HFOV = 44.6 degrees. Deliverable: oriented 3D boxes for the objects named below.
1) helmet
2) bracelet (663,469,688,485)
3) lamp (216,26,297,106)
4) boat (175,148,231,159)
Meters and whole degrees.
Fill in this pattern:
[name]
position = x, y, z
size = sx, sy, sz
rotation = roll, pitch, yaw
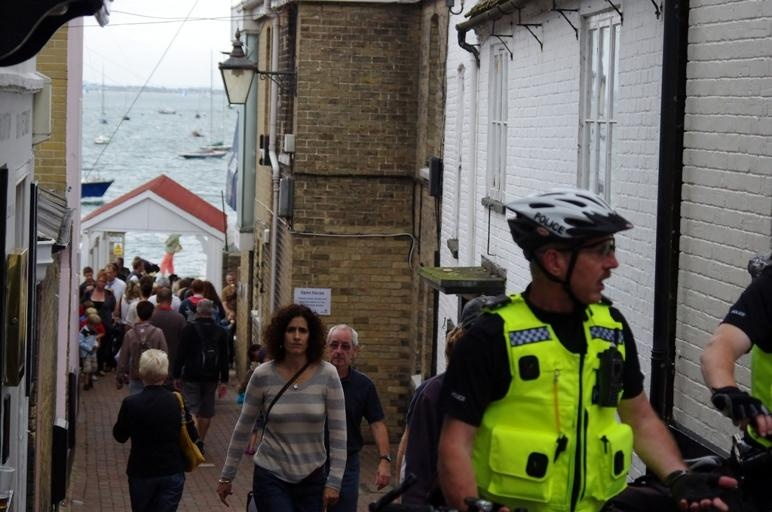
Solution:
[helmet]
position = 0.926, -0.163, 4.678
size = 0.643, 0.331, 0.414
rotation = 1, 8, 27
[bracelet]
position = 1.392, 1.032, 4.478
size = 0.071, 0.102, 0.107
rotation = 2, -20, -16
[lamp]
position = -2.284, -3.282, 16.383
size = 1.537, 1.239, 0.664
rotation = -6, 14, -35
[boat]
position = -30.970, -17.485, 161.769
size = 7.561, 1.678, 2.598
rotation = -6, 5, -43
